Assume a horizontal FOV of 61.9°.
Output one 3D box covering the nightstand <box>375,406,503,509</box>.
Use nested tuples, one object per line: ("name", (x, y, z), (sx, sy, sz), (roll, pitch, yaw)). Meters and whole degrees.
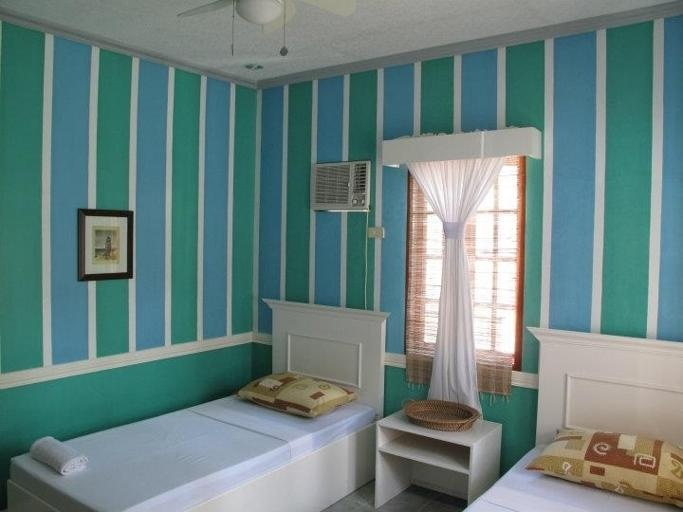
("nightstand", (0.654, 1.367, 3.899), (0.747, 0.662, 0.666), (3, 3, 37))

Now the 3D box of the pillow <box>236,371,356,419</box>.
("pillow", (-0.325, 0.992, 4.268), (0.670, 0.247, 0.583), (2, 0, 33))

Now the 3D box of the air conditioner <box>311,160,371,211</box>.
("air conditioner", (0.003, -0.530, 4.564), (0.493, 0.382, 0.181), (3, 3, 43))

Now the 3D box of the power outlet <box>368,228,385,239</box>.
("power outlet", (0.268, -0.171, 4.401), (0.143, 0.096, 0.078), (1, 1, 37))
